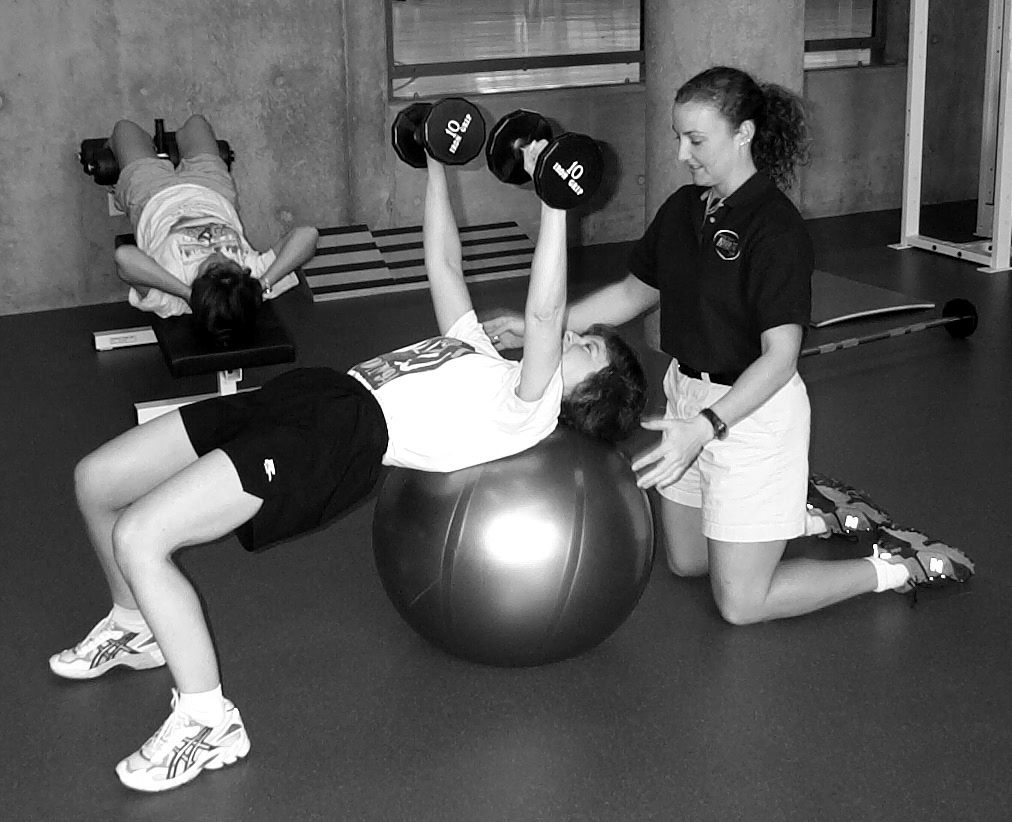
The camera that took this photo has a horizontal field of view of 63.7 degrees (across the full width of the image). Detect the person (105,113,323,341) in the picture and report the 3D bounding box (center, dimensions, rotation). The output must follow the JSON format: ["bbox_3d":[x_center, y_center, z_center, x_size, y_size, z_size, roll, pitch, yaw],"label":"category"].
[{"bbox_3d":[-1.499,-0.813,3.798,0.697,0.496,1.520,-10,59,-18],"label":"person"}]

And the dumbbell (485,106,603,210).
[{"bbox_3d":[0.059,-0.430,1.412,0.121,0.122,0.192,-11,34,-31],"label":"dumbbell"}]

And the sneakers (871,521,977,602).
[{"bbox_3d":[1.113,0.400,2.199,0.278,0.113,0.200,-10,27,37],"label":"sneakers"}]

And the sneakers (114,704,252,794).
[{"bbox_3d":[-0.631,0.637,1.599,0.237,0.167,0.084,-6,10,-42],"label":"sneakers"}]

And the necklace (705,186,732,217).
[{"bbox_3d":[0.479,-0.470,1.849,0.022,0.062,0.047,19,42,-35],"label":"necklace"}]

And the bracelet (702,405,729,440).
[{"bbox_3d":[0.415,0.025,1.620,0.029,0.044,0.040,-37,59,4],"label":"bracelet"}]

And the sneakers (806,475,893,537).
[{"bbox_3d":[1.001,0.293,2.425,0.244,0.092,0.157,32,46,28],"label":"sneakers"}]

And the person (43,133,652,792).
[{"bbox_3d":[-0.302,0.002,1.686,1.196,1.152,0.623,-8,20,-30],"label":"person"}]

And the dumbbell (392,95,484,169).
[{"bbox_3d":[-0.144,-0.565,1.674,0.059,0.153,0.227,-12,21,-39],"label":"dumbbell"}]
